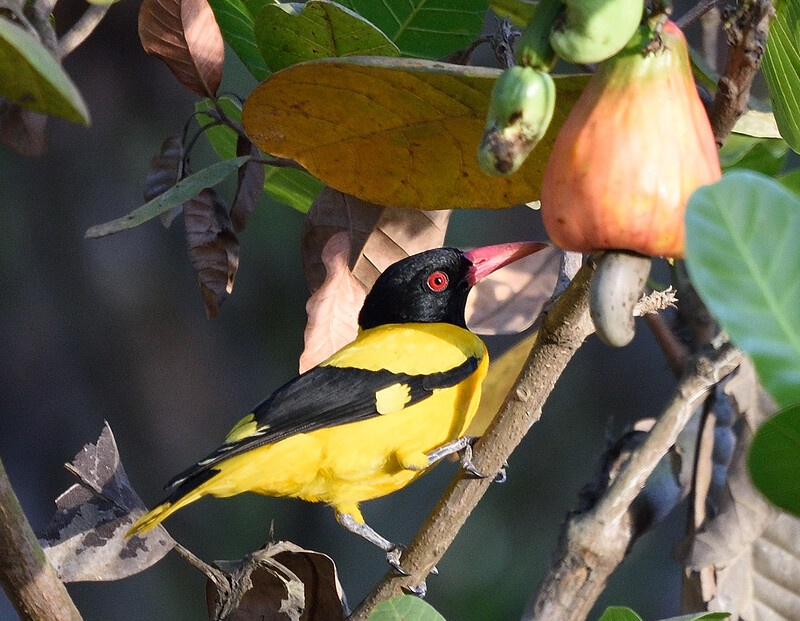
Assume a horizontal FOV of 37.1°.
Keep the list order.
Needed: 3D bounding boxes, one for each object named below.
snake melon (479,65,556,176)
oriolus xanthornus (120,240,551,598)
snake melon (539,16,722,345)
[{"bbox_3d":[0.090,-0.143,0.905,0.051,0.093,0.048,10,6,-39],"label":"snake melon"},{"bbox_3d":[-0.071,0.107,1.344,0.429,0.154,0.367,-1,83,-6],"label":"oriolus xanthornus"},{"bbox_3d":[0.182,-0.105,0.912,0.153,0.173,0.139,-29,55,-33],"label":"snake melon"}]
